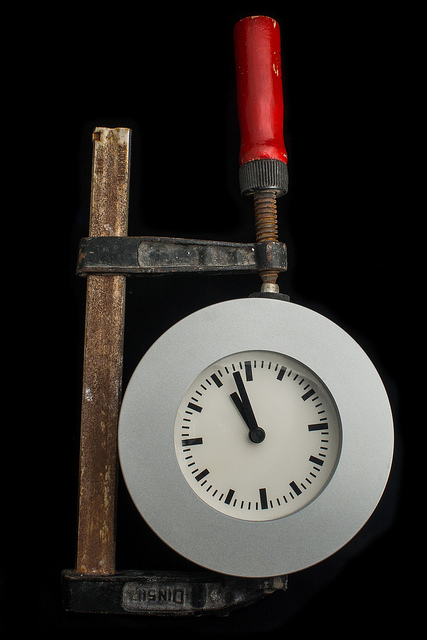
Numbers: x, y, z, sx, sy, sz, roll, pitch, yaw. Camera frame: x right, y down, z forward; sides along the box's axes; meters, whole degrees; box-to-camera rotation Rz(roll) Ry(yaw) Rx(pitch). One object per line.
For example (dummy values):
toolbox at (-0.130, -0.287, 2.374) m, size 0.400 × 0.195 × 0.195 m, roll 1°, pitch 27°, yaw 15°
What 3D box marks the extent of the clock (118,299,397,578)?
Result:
clock at (0.057, 0.183, 1.675) m, size 0.317 × 0.050 × 0.446 m, roll 0°, pitch 80°, yaw -1°
